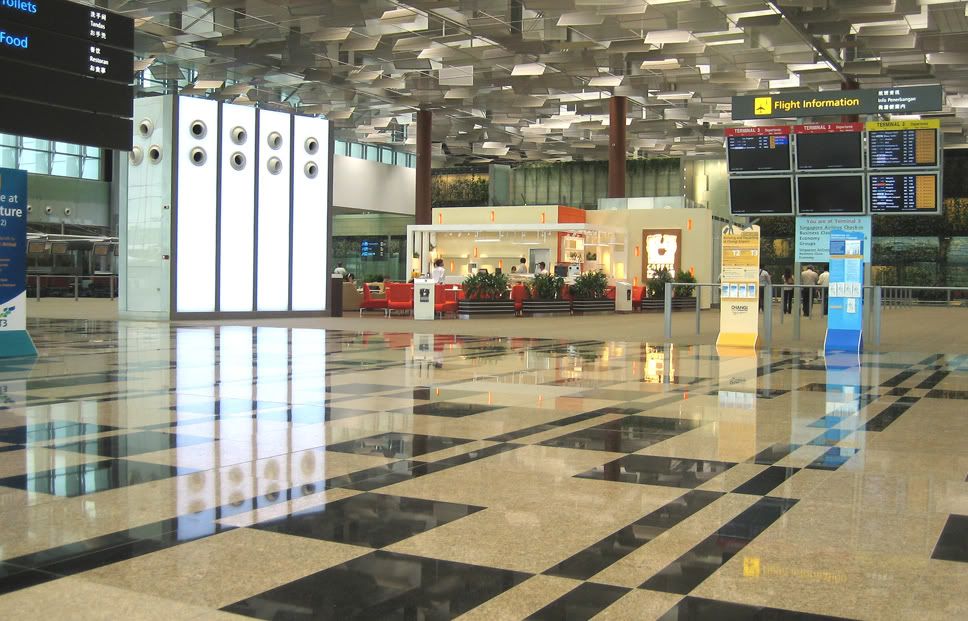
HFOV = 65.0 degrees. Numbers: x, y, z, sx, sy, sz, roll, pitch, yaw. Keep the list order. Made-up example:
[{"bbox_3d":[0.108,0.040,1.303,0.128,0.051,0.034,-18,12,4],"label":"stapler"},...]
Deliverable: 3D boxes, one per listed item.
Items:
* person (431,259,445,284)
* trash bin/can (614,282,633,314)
[{"bbox_3d":[-1.465,-1.231,24.001,0.362,0.717,1.381,-1,3,-6],"label":"person"},{"bbox_3d":[5.245,-0.481,28.808,1.366,1.063,0.552,-4,4,-45],"label":"trash bin/can"}]
